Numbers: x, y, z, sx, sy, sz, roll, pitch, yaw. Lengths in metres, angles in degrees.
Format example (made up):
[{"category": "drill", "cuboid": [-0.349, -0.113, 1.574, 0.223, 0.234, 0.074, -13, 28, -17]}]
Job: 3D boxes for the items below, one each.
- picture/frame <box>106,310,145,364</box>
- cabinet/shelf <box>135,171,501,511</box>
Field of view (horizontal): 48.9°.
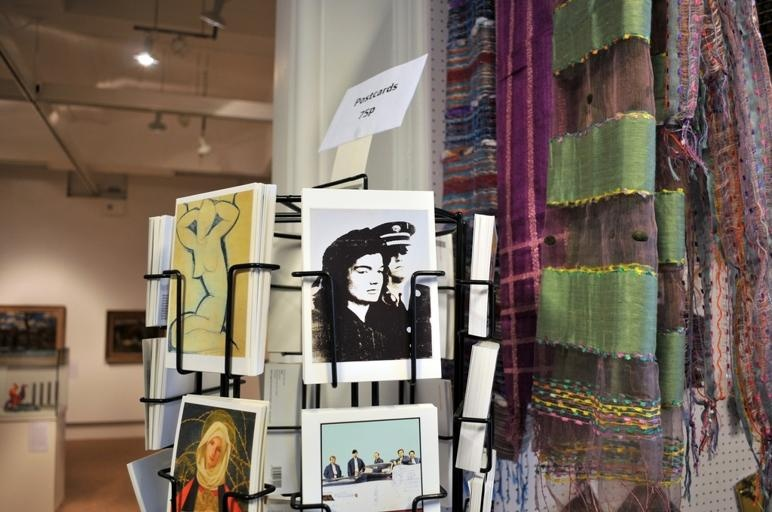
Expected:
[{"category": "picture/frame", "cuboid": [-0.871, 0.279, 2.879, 0.152, 0.199, 0.014, 3, -33, -20]}, {"category": "cabinet/shelf", "cuboid": [-0.184, 0.118, 2.415, 0.854, 1.066, 0.846, 6, -7, -43]}]
